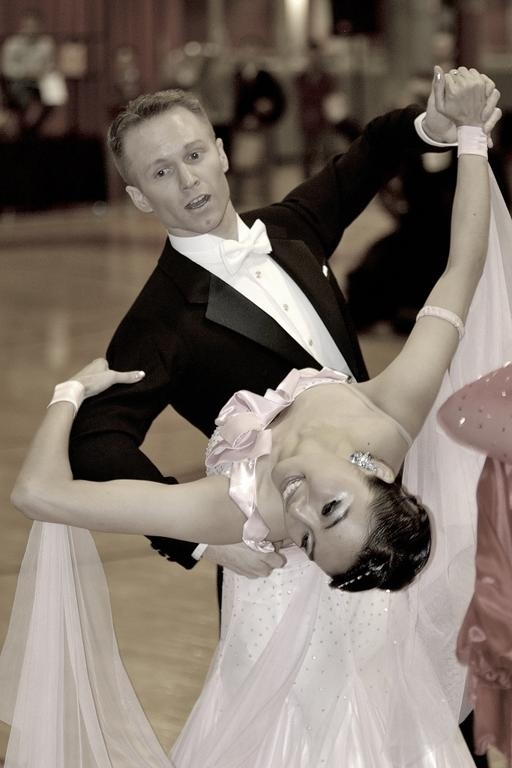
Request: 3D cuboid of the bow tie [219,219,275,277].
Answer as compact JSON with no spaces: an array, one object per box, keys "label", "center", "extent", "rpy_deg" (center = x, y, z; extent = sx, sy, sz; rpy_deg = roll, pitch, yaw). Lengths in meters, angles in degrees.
[{"label":"bow tie","center":[-0.022,-0.277,1.689],"extent":[0.051,0.064,0.119],"rpy_deg":[-18,12,41]}]
